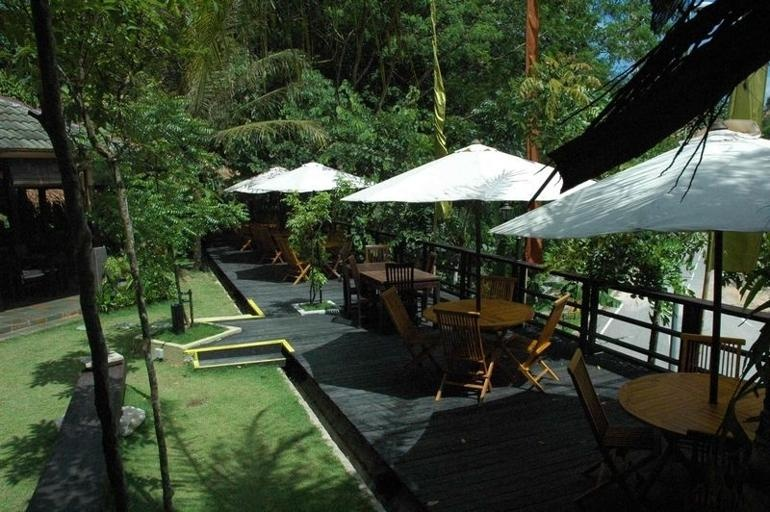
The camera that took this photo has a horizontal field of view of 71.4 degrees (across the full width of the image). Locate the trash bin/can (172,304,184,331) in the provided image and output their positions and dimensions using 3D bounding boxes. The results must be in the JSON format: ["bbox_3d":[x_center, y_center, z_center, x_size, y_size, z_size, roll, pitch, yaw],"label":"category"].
[{"bbox_3d":[-3.669,1.080,9.534,0.241,0.482,0.372,-7,14,-20],"label":"trash bin/can"}]
